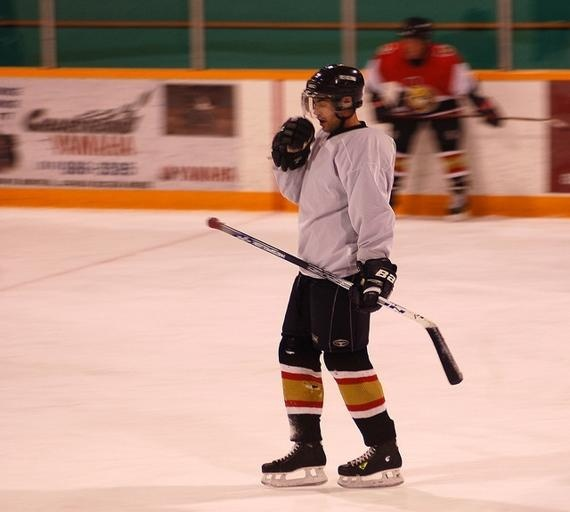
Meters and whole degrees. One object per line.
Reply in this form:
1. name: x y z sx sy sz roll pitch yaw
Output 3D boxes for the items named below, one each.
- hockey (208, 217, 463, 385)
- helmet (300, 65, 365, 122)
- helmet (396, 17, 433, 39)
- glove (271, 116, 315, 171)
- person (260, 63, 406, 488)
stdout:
1. hockey: 0.217 0.228 3.612 1.920 0.374 0.070 20 60 9
2. helmet: 0.159 -0.554 2.737 0.249 0.156 0.165 -11 21 -18
3. helmet: 1.127 -1.975 6.873 0.262 0.235 0.237 -2 5 -5
4. glove: 0.032 -0.393 2.792 0.179 0.177 0.072 13 41 12
5. person: 0.144 0.045 2.688 0.473 1.416 0.451 -1 6 6
